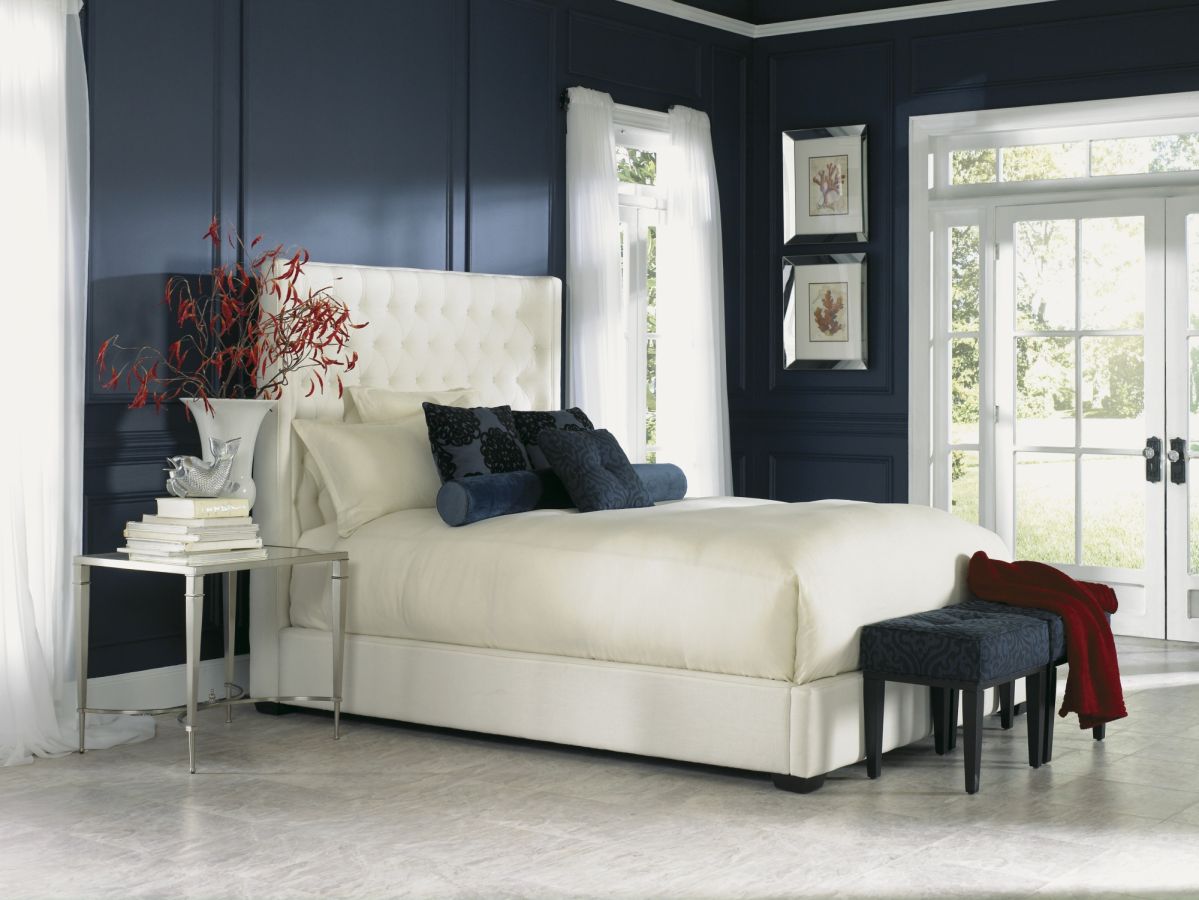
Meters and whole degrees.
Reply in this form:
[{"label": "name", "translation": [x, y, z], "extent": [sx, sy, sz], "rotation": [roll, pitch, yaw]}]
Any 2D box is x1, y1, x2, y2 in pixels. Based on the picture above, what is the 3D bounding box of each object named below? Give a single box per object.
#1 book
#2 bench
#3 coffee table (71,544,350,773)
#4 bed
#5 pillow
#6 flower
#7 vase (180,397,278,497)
[{"label": "book", "translation": [-1.538, 0.281, 3.810], "extent": [0.287, 0.146, 0.298], "rotation": [1, 1, 40]}, {"label": "bench", "translation": [1.285, 0.840, 3.602], "extent": [0.428, 0.542, 0.775], "rotation": [0, 1, 41]}, {"label": "coffee table", "translation": [-1.514, 0.625, 4.020], "extent": [0.844, 0.842, 0.875], "rotation": [2, 2, 36]}, {"label": "bed", "translation": [0.181, 0.068, 4.684], "extent": [2.924, 2.143, 1.889], "rotation": [-1, 0, 32]}, {"label": "pillow", "translation": [-0.762, 0.051, 4.453], "extent": [0.981, 0.457, 0.856], "rotation": [-1, 1, 26]}, {"label": "flower", "translation": [-1.629, -0.579, 4.589], "extent": [1.020, 0.710, 0.639], "rotation": [-13, -16, 7]}, {"label": "vase", "translation": [-1.495, 0.003, 4.214], "extent": [0.382, 0.458, 0.381], "rotation": [0, -2, -17]}]
